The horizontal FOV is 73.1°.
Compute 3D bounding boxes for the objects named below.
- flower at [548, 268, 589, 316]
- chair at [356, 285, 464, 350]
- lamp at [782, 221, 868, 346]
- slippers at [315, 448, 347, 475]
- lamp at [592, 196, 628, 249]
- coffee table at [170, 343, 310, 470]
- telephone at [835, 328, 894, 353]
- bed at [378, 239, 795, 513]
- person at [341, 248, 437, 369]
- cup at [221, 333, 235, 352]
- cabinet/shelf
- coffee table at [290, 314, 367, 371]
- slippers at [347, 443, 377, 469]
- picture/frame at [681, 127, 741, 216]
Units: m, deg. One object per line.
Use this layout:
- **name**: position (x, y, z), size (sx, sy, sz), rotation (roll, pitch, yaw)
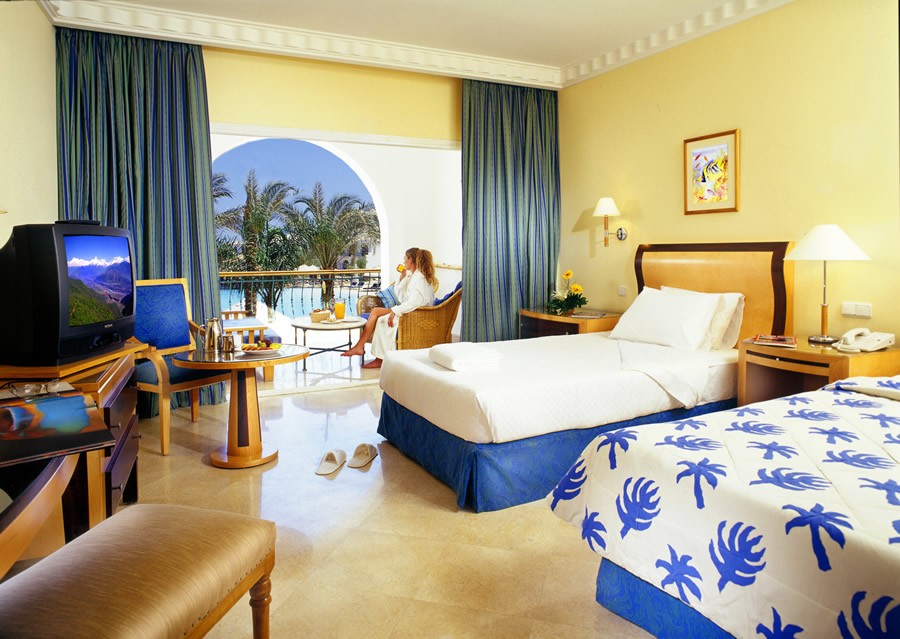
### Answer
- **flower**: position (1.331, -0.302, 6.747), size (0.431, 0.507, 0.488), rotation (1, 0, 13)
- **chair**: position (-0.327, -0.059, 7.541), size (0.784, 0.957, 0.762), rotation (0, 2, -11)
- **lamp**: position (2.701, -0.230, 4.388), size (0.428, 0.821, 0.452), rotation (3, -11, 25)
- **slippers**: position (-0.847, 1.021, 4.315), size (0.190, 0.072, 0.293), rotation (0, 13, 0)
- **lamp**: position (1.663, -0.988, 6.301), size (0.295, 0.520, 0.253), rotation (0, 1, -9)
- **coffee table**: position (-1.514, 0.653, 4.469), size (0.861, 0.766, 0.873), rotation (-3, 2, -35)
- **telephone**: position (2.918, 0.144, 4.261), size (0.560, 0.109, 0.250), rotation (-6, 14, -26)
- **bed**: position (0.998, 0.418, 4.905), size (2.506, 1.770, 1.921), rotation (-1, 1, -24)
- **person**: position (-0.693, -0.192, 7.965), size (1.481, 2.075, 0.937), rotation (2, 4, -7)
- **cup**: position (-1.608, 0.162, 4.402), size (0.097, 0.127, 0.104), rotation (0, -5, 0)
- **cabinet/shelf**: position (-1.618, 0.529, 2.565), size (0.419, 0.775, 0.759), rotation (-3, 10, -18)
- **coffee table**: position (-1.571, 0.158, 7.556), size (0.809, 0.501, 0.843), rotation (4, 7, 32)
- **slippers**: position (-0.644, 0.995, 4.439), size (0.198, 0.084, 0.328), rotation (2, 13, 5)
- **picture/frame**: position (2.342, -1.325, 5.392), size (0.060, 0.999, 0.751), rotation (-5, 6, -28)
